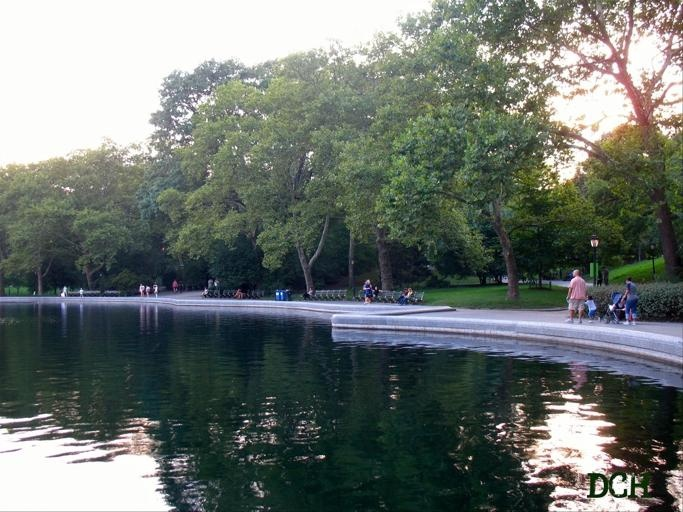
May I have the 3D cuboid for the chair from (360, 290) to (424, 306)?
[{"bbox_3d":[3.657,2.857,48.562,0.750,0.852,3.545,7,-6,-39],"label":"chair"}]

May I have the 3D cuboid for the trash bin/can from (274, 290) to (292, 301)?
[{"bbox_3d":[-4.802,3.201,57.661,0.853,0.730,1.019,0,0,-17],"label":"trash bin/can"}]

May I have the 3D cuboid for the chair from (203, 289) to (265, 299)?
[{"bbox_3d":[-9.730,3.446,63.763,3.987,0.839,0.783,-1,-2,19],"label":"chair"}]

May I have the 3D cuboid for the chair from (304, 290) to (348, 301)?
[{"bbox_3d":[-1.066,3.096,55.792,2.443,0.816,0.646,-2,-9,27],"label":"chair"}]
